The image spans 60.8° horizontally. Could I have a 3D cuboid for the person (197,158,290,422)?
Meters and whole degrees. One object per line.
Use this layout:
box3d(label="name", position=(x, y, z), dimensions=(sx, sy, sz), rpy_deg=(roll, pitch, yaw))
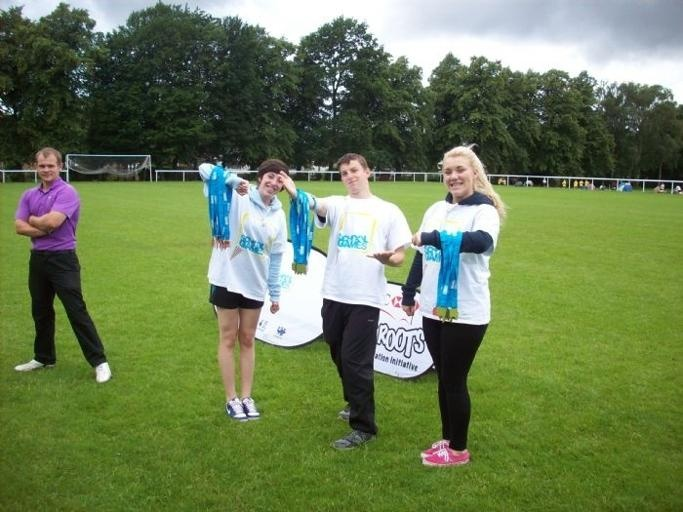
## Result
box3d(label="person", position=(-1.071, 0.430, 6.601), dimensions=(0.886, 2.820, 0.355), rpy_deg=(-1, 8, -16))

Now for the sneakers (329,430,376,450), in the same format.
box3d(label="sneakers", position=(0.116, 1.971, 6.193), dimensions=(0.406, 0.167, 0.161), rpy_deg=(3, -1, -22))

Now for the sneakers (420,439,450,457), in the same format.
box3d(label="sneakers", position=(1.018, 1.981, 6.058), dimensions=(0.365, 0.161, 0.129), rpy_deg=(-6, 5, -18))

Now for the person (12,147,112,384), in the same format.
box3d(label="person", position=(-3.508, 0.124, 7.175), dimensions=(1.116, 2.864, 0.501), rpy_deg=(2, 7, 7))

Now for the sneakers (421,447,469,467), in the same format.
box3d(label="sneakers", position=(1.054, 2.060, 5.926), dimensions=(0.456, 0.200, 0.194), rpy_deg=(1, -4, -4))

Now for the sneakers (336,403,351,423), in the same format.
box3d(label="sneakers", position=(0.048, 1.815, 6.721), dimensions=(0.135, 0.084, 0.183), rpy_deg=(6, 5, 22))

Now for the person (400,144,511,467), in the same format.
box3d(label="person", position=(1.127, 0.521, 5.892), dimensions=(0.867, 3.215, 0.620), rpy_deg=(3, 8, 19))

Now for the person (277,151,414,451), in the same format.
box3d(label="person", position=(0.203, 0.456, 6.306), dimensions=(1.006, 3.077, 0.743), rpy_deg=(2, 7, 7))
